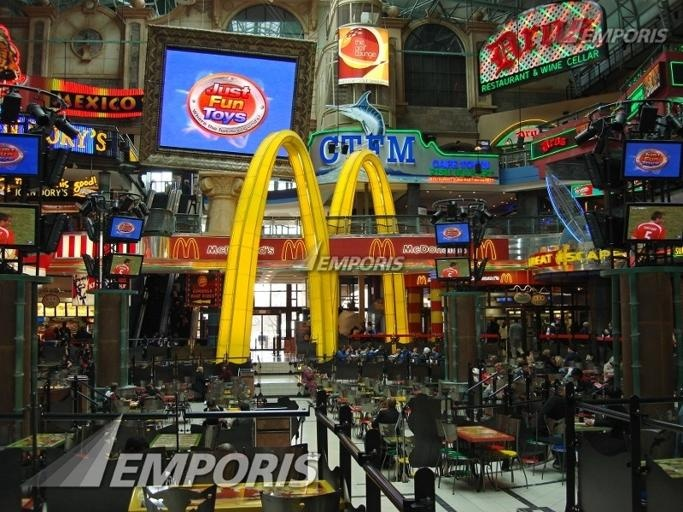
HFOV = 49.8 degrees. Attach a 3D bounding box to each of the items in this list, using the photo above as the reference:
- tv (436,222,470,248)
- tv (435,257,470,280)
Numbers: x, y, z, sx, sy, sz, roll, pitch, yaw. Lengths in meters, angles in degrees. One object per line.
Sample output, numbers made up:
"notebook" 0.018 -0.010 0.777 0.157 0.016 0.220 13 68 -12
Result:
"tv" 3.062 -0.716 20.197 1.214 0.758 0.617 0 8 5
"tv" 2.979 0.339 19.535 0.688 0.429 0.090 0 -3 13
